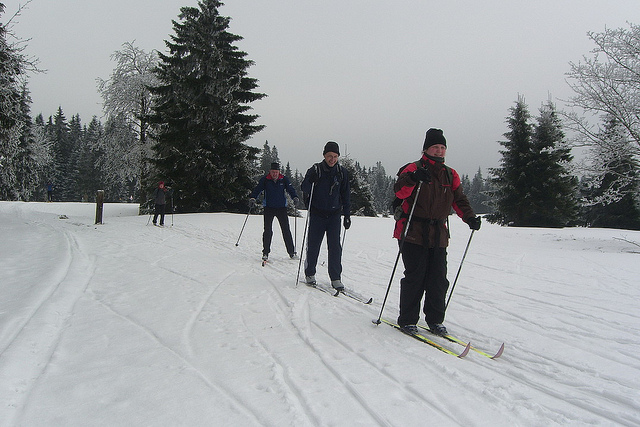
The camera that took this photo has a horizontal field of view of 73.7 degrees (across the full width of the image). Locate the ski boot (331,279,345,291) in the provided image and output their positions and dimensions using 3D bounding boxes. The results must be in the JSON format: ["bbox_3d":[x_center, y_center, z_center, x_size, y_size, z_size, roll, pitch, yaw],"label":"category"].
[{"bbox_3d":[0.356,1.420,8.619,0.134,0.140,0.266,-1,-2,-29],"label":"ski boot"}]

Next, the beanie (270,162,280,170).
[{"bbox_3d":[-1.128,-1.222,10.810,0.168,0.142,0.177,0,4,-24],"label":"beanie"}]

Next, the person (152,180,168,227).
[{"bbox_3d":[-5.987,-0.441,16.072,0.489,1.617,1.533,1,6,-20],"label":"person"}]

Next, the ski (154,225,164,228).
[{"bbox_3d":[-5.847,0.418,15.482,0.148,0.029,0.641,0,7,-33],"label":"ski"}]

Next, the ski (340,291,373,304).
[{"bbox_3d":[0.649,1.615,8.314,0.178,0.170,1.059,-4,3,-28],"label":"ski"}]

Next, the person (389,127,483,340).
[{"bbox_3d":[1.743,0.281,6.912,1.190,3.343,0.721,4,5,6],"label":"person"}]

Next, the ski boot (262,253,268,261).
[{"bbox_3d":[-1.332,1.049,10.505,0.108,0.167,0.154,6,-6,-39],"label":"ski boot"}]

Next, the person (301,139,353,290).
[{"bbox_3d":[0.114,0.005,8.831,0.975,2.951,0.789,4,5,10],"label":"person"}]

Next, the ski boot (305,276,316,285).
[{"bbox_3d":[-0.188,1.365,8.813,0.086,0.130,0.271,3,-10,-20],"label":"ski boot"}]

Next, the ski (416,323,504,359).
[{"bbox_3d":[2.163,2.022,6.721,0.775,0.114,0.104,28,13,37],"label":"ski"}]

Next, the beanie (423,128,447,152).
[{"bbox_3d":[1.819,-1.219,6.796,0.316,0.330,0.576,5,6,13],"label":"beanie"}]

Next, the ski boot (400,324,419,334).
[{"bbox_3d":[1.440,1.852,6.919,0.307,0.145,0.100,11,-6,20],"label":"ski boot"}]

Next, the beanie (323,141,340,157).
[{"bbox_3d":[0.219,-1.272,8.252,0.277,0.281,0.687,4,6,1],"label":"beanie"}]

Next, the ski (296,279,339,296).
[{"bbox_3d":[-0.031,1.480,8.641,0.172,0.192,1.258,-2,11,-30],"label":"ski"}]
